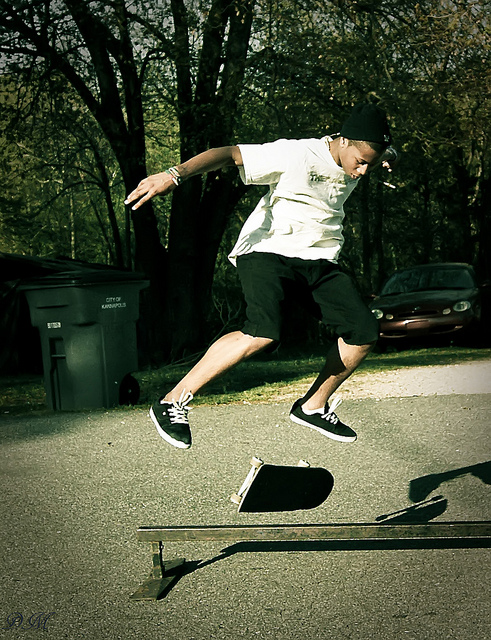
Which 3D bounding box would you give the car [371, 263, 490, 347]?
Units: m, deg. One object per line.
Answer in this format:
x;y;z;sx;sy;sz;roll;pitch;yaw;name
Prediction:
3.463;-0.270;12.037;1.743;1.100;2.833;-4;-7;25;car

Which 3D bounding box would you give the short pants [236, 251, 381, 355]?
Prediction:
0.246;-0.095;3.130;0.660;0.453;0.363;-4;3;-23;short pants

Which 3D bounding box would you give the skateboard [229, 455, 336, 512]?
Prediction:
0.097;0.669;2.746;0.681;0.234;0.096;11;-14;-42;skateboard
